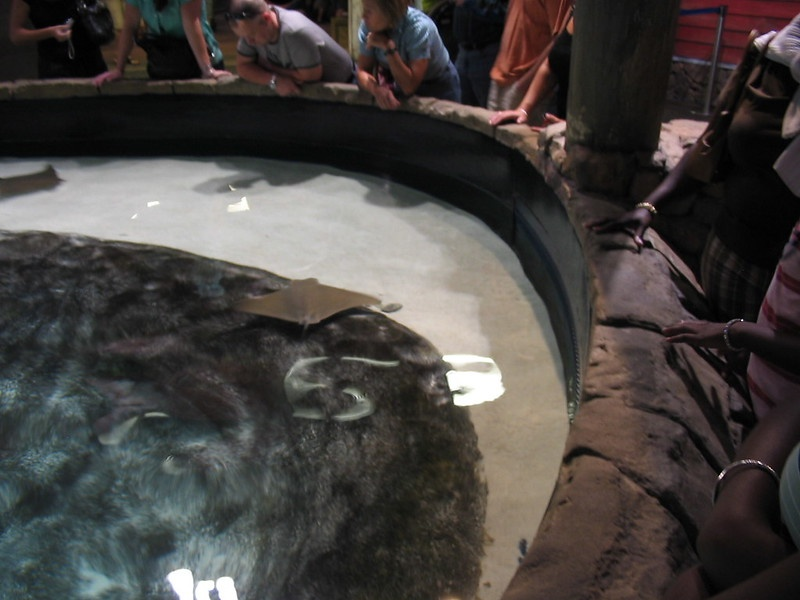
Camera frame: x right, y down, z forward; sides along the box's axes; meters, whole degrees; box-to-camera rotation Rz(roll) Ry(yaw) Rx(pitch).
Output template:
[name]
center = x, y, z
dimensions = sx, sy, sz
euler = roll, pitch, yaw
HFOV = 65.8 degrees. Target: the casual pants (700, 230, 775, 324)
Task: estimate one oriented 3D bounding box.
[casual pants]
center = 1.321, -0.086, 2.399
dimensions = 0.145, 0.277, 0.189
euler = -17, 41, 8
